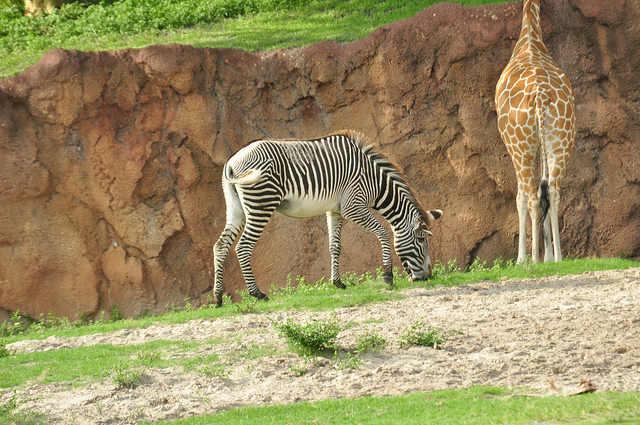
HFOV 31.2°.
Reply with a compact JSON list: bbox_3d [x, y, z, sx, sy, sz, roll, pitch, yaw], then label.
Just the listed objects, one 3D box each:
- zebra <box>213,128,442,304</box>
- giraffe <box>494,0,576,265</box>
[{"bbox_3d":[0.232,0.111,24.612,5.031,3.782,1.551,2,-2,-21],"label":"zebra"},{"bbox_3d":[4.579,-1.780,24.402,1.451,5.724,0.942,-4,-5,43],"label":"giraffe"}]
